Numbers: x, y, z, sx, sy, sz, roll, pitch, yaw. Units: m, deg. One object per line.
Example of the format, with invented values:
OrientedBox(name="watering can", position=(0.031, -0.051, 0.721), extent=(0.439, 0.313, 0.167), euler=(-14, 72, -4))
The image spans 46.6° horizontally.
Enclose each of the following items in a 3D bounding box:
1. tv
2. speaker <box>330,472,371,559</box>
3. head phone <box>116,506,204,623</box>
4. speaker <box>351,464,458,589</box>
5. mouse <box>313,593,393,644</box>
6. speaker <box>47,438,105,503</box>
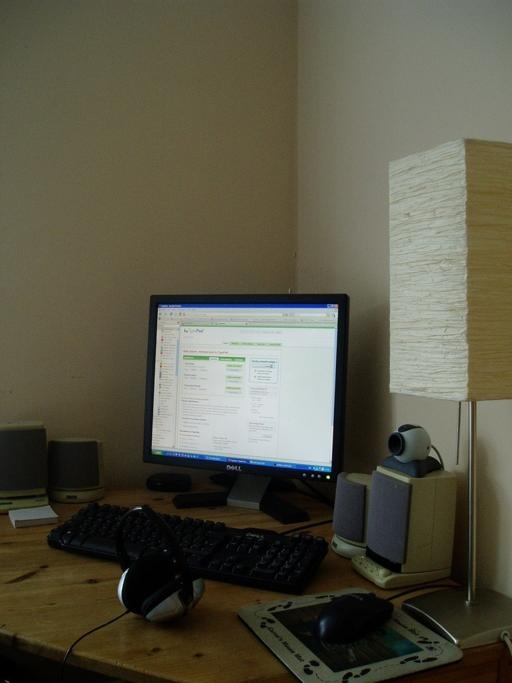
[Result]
OrientedBox(name="tv", position=(-0.017, 0.120, 1.155), extent=(0.451, 0.416, 0.129), euler=(0, -6, 27))
OrientedBox(name="speaker", position=(0.145, 0.273, 0.922), extent=(0.096, 0.101, 0.103), euler=(2, -2, 3))
OrientedBox(name="head phone", position=(-0.123, 0.288, 0.758), extent=(0.071, 0.119, 0.110), euler=(-19, 1, -41))
OrientedBox(name="speaker", position=(0.215, 0.268, 0.932), extent=(0.165, 0.190, 0.139), euler=(0, 3, -20))
OrientedBox(name="mouse", position=(0.115, 0.311, 0.684), extent=(0.112, 0.038, 0.040), euler=(-1, 2, -42))
OrientedBox(name="speaker", position=(-0.361, 0.271, 1.261), extent=(0.126, 0.120, 0.118), euler=(0, -4, -6))
